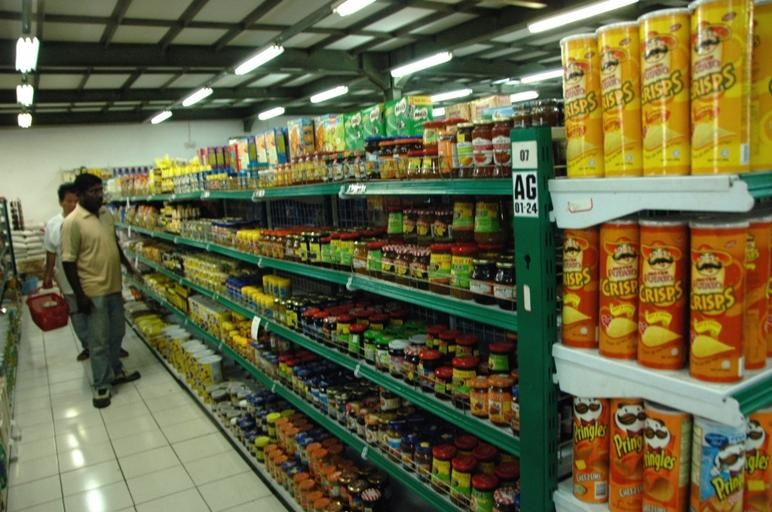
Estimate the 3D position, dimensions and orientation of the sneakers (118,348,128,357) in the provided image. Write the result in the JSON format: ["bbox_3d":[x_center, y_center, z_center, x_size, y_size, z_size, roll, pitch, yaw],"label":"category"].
[{"bbox_3d":[-3.177,1.168,7.275,0.062,0.116,0.183,-3,0,-38],"label":"sneakers"}]

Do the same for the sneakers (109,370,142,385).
[{"bbox_3d":[-2.847,1.317,6.554,0.304,0.105,0.110,-14,18,-41],"label":"sneakers"}]

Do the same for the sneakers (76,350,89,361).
[{"bbox_3d":[-3.730,1.205,7.347,0.111,0.080,0.210,-1,0,35],"label":"sneakers"}]

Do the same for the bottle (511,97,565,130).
[{"bbox_3d":[0.688,-0.625,2.702,0.165,0.075,0.164,-3,14,1],"label":"bottle"}]
